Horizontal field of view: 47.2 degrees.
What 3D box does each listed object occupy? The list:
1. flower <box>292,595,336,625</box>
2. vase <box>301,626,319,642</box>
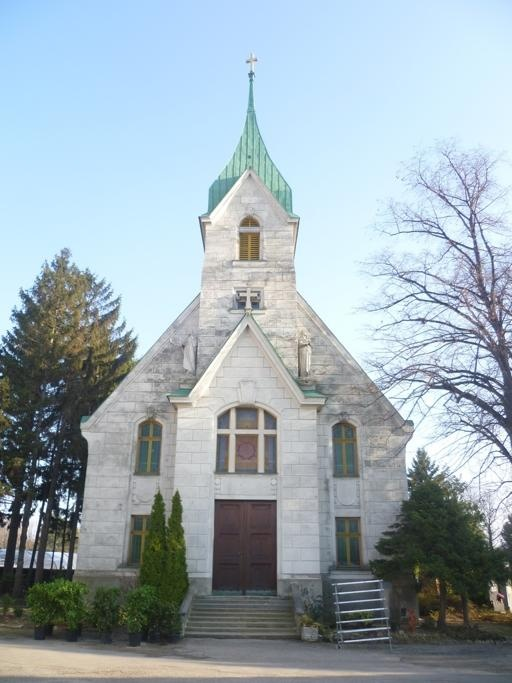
[{"bbox_3d":[1.658,7.723,16.784,0.984,0.763,0.836,-3,-11,8],"label":"flower"},{"bbox_3d":[1.394,7.527,15.126,0.482,0.350,0.406,0,-22,3],"label":"vase"}]
